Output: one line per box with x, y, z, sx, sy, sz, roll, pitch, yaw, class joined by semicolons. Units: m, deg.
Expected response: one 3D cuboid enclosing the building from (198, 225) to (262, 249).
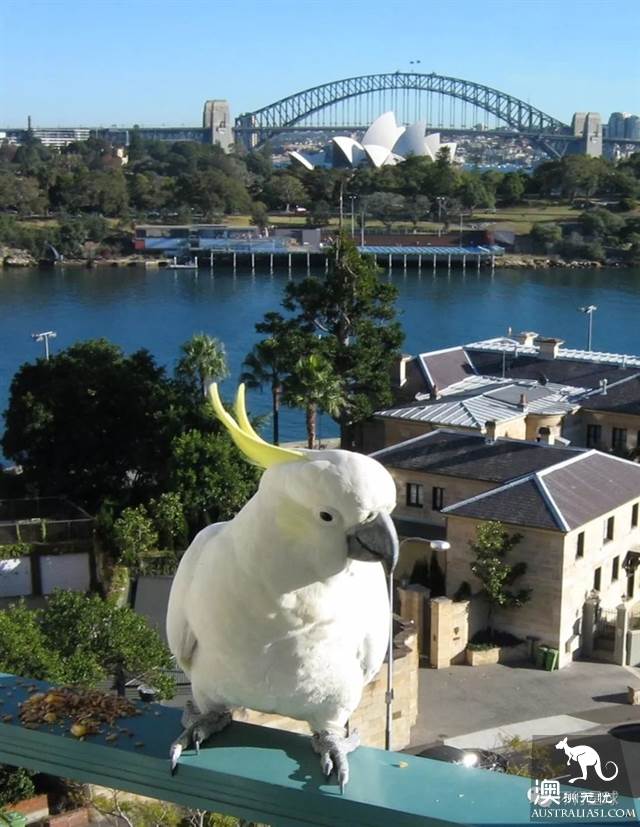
-11.744;-22.142;136.458;7.761;3.624;5.198;1;2;-12;building

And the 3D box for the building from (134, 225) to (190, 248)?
-20.977;-22.664;138.027;5.389;2.532;3.914;1;15;3;building

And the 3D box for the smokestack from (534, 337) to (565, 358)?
9.089;-2.524;42.063;0.984;0.786;0.868;3;26;6;smokestack
